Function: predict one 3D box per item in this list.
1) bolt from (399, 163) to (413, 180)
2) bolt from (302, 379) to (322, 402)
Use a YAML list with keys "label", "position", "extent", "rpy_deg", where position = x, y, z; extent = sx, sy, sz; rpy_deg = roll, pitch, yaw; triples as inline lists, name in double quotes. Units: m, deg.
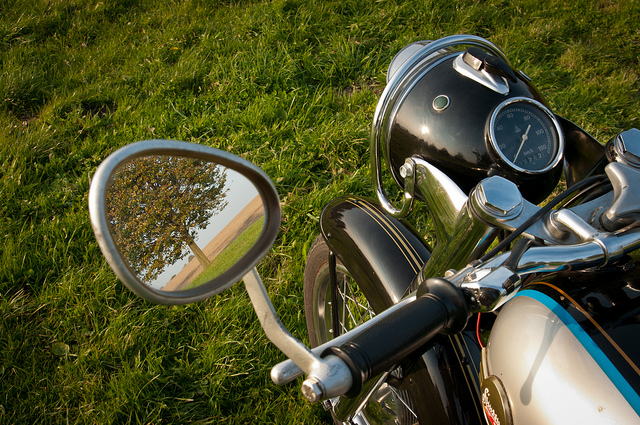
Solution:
- label: "bolt"
  position: [0.403, -0.189, 2.575]
  extent: [0.031, 0.070, 0.062]
  rpy_deg: [-7, 24, -21]
- label: "bolt"
  position: [-0.027, 0.644, 2.037]
  extent: [0.070, 0.077, 0.024]
  rpy_deg: [36, 33, 21]
